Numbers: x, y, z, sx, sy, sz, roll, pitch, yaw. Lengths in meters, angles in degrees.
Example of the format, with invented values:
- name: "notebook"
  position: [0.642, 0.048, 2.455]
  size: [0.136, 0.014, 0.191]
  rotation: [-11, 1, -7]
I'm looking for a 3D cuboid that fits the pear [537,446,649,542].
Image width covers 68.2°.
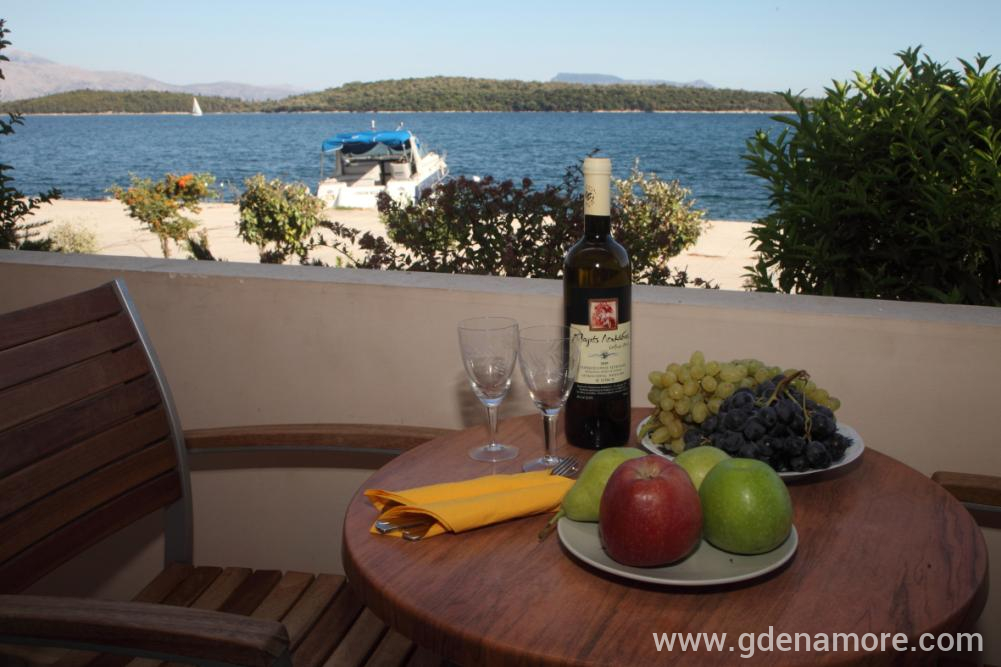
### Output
- name: "pear"
  position: [0.121, 0.235, 1.151]
  size: [0.092, 0.104, 0.183]
  rotation: [37, 46, 27]

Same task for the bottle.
- name: "bottle"
  position: [0.179, -0.053, 1.360]
  size: [0.117, 0.509, 0.121]
  rotation: [-2, 13, 1]

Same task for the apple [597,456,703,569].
- name: "apple"
  position: [0.213, 0.251, 1.072]
  size: [0.145, 0.136, 0.137]
  rotation: [-9, 18, -19]

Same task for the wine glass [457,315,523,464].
- name: "wine glass"
  position: [-0.019, 0.101, 1.377]
  size: [0.104, 0.256, 0.109]
  rotation: [-4, 9, 11]

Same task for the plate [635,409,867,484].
- name: "plate"
  position: [0.435, 0.198, 1.378]
  size: [0.350, 0.124, 0.284]
  rotation: [-6, 8, -36]

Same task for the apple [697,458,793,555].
- name: "apple"
  position: [0.361, 0.255, 1.098]
  size: [0.133, 0.128, 0.139]
  rotation: [-9, 4, -13]

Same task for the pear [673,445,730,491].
- name: "pear"
  position: [0.304, 0.200, 1.131]
  size: [0.061, 0.065, 0.061]
  rotation: [3, 2, -13]
